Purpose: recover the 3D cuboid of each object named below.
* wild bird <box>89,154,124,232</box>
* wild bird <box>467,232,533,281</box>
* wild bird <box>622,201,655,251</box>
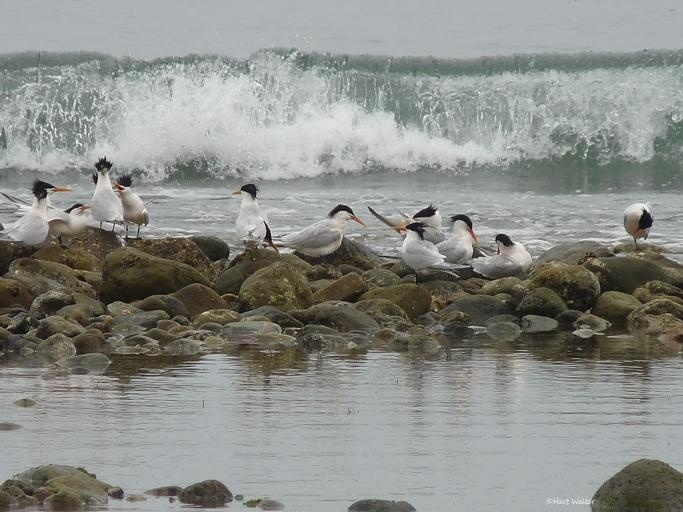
[{"bbox_3d":[-5.107,-1.297,28.525,0.681,1.547,0.748,-1,0,-9],"label":"wild bird"},{"bbox_3d":[3.337,0.040,27.779,1.424,1.003,0.906,-1,32,17],"label":"wild bird"},{"bbox_3d":[6.795,-0.685,30.607,0.578,0.842,0.704,-1,0,9],"label":"wild bird"}]
